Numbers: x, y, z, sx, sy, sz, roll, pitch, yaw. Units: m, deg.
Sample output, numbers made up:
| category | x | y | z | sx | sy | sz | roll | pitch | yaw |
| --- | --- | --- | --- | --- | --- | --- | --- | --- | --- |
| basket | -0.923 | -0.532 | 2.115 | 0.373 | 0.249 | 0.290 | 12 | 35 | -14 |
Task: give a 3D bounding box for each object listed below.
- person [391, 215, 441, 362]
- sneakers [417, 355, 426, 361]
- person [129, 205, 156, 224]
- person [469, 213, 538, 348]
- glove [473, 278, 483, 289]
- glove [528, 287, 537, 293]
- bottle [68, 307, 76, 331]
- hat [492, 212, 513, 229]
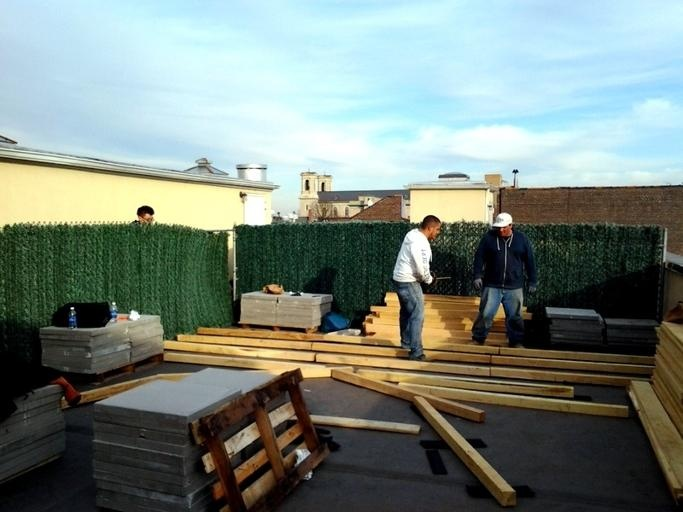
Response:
| category | x | y | z | sx | sy | sz | roll | pitch | yaw |
| --- | --- | --- | --- | --- | --- | --- | --- | --- | --- |
| person | 1.244 | 0.506 | 8.960 | 0.636 | 2.297 | 0.598 | -7 | 11 | -33 |
| sneakers | 1.296 | 1.661 | 8.852 | 0.111 | 0.044 | 0.118 | -8 | 2 | 21 |
| person | -3.876 | -0.805 | 10.717 | 0.327 | 0.328 | 0.940 | -3 | 10 | -15 |
| person | 2.832 | 0.419 | 9.545 | 1.048 | 2.327 | 0.617 | 0 | 9 | 1 |
| glove | 2.362 | 0.483 | 9.461 | 0.158 | 0.120 | 0.162 | -6 | 15 | -8 |
| glove | 3.322 | 0.586 | 9.508 | 0.143 | 0.073 | 0.208 | 3 | 11 | 15 |
| bottle | -4.048 | 0.928 | 8.229 | 0.104 | 0.284 | 0.239 | -4 | 10 | -18 |
| hat | 2.842 | -0.621 | 9.525 | 0.388 | 0.309 | 0.522 | 3 | 8 | 40 |
